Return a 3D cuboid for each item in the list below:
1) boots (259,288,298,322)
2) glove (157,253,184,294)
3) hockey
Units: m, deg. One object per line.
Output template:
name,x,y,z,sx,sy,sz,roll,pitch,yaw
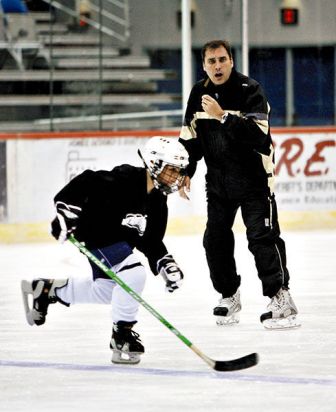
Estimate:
boots,0.494,0.444,2.892,0.156,0.130,0.135,2,5,6
glove,0.015,0.250,2.430,0.069,0.095,0.140,-30,48,-20
hockey,-0.013,0.422,2.745,0.833,0.110,0.088,29,65,30
